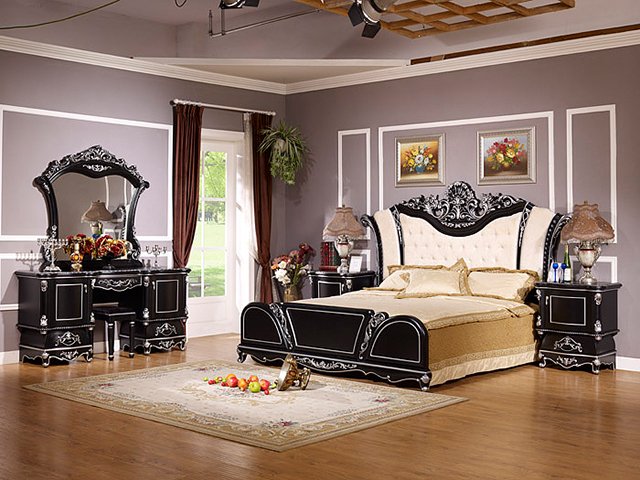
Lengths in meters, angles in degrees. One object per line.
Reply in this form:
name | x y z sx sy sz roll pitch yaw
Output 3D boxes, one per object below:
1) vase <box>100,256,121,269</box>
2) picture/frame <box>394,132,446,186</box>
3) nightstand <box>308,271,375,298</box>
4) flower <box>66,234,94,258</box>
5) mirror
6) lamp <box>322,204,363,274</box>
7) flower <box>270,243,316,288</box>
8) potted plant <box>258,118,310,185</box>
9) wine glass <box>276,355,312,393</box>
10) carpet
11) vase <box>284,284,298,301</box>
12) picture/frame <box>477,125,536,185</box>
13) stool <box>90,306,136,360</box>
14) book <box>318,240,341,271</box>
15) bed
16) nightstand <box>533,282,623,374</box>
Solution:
vase | -2.745 0.303 6.635 0.240 0.158 0.057 2 14 -33
picture/frame | 1.451 -1.158 7.192 0.795 0.781 0.060 1 1 34
nightstand | 0.336 0.612 7.355 0.639 0.649 0.483 -2 -3 42
flower | -3.049 0.053 6.494 0.329 0.341 0.206 0 -2 2
mirror | -3.024 -0.431 6.566 0.108 1.686 1.649 -1 0 43
lamp | 0.340 -0.019 7.650 0.847 1.117 0.865 0 -4 -2
flower | -0.430 0.355 8.192 0.660 0.736 0.721 0 1 32
potted plant | -0.575 -1.460 8.191 0.715 0.741 0.845 7 8 30
wine glass | -0.232 1.258 4.739 0.194 0.263 0.254 16 32 0
carpet | -0.645 1.375 4.548 3.336 0.096 1.999 -2 -3 34
vase | -0.478 0.828 8.093 0.250 0.291 0.252 0 1 -23
picture/frame | 2.434 -1.103 6.523 0.804 0.794 0.064 0 -1 34
stool | -2.660 1.158 6.444 0.536 0.789 0.619 1 -3 -42
book | 0.131 0.243 7.929 0.380 0.553 0.401 -1 -1 17
bed | 1.175 0.699 6.028 2.818 2.123 2.726 -1 -2 42
nightstand | 2.894 0.961 5.679 0.876 0.654 0.540 -2 -2 22
